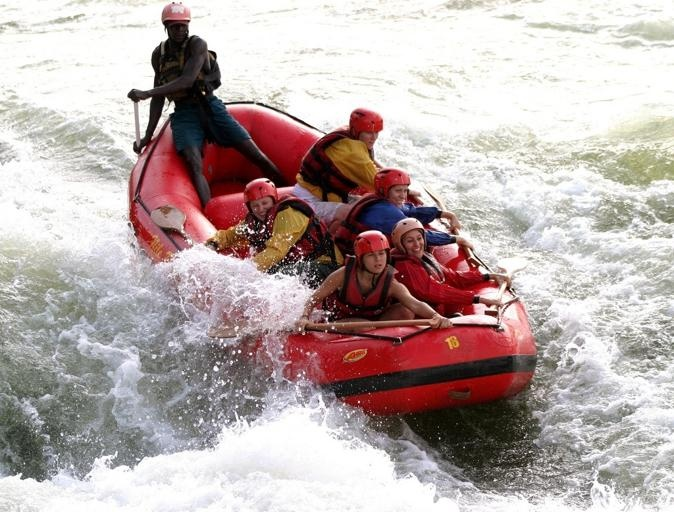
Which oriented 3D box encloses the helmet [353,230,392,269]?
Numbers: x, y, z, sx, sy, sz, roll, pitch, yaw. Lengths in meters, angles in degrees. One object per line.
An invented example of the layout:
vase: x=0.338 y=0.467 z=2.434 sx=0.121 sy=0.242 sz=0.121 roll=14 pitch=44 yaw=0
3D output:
helmet: x=0.284 y=-0.077 z=6.994 sx=0.277 sy=0.260 sz=0.182 roll=-10 pitch=40 yaw=-12

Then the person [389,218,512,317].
person: x=0.797 y=0.083 z=7.365 sx=1.372 sy=0.601 sz=0.731 roll=9 pitch=33 yaw=11

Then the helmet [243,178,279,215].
helmet: x=-0.684 y=-0.537 z=7.653 sx=0.333 sy=0.319 sz=0.268 roll=-2 pitch=50 yaw=-1

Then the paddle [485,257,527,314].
paddle: x=1.507 y=0.255 z=7.481 sx=0.290 sy=0.078 sz=0.868 roll=4 pitch=20 yaw=20

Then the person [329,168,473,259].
person: x=0.793 y=-0.420 z=7.719 sx=1.426 sy=0.481 sz=0.790 roll=13 pitch=19 yaw=26

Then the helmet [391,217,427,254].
helmet: x=0.548 y=-0.180 z=7.386 sx=0.329 sy=0.350 sz=0.255 roll=9 pitch=67 yaw=-21

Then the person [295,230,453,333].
person: x=0.309 y=0.124 z=7.242 sx=1.148 sy=0.762 sz=1.099 roll=-8 pitch=22 yaw=-35

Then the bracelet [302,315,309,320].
bracelet: x=-0.278 y=0.519 z=7.110 sx=0.050 sy=0.012 sz=0.041 roll=-7 pitch=16 yaw=-12

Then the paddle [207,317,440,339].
paddle: x=-0.062 y=0.605 z=7.102 sx=1.609 sy=0.078 sz=0.144 roll=-3 pitch=9 yaw=14

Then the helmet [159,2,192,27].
helmet: x=-1.706 y=-2.507 z=8.725 sx=0.270 sy=0.136 sz=0.313 roll=-1 pitch=-1 yaw=-18
